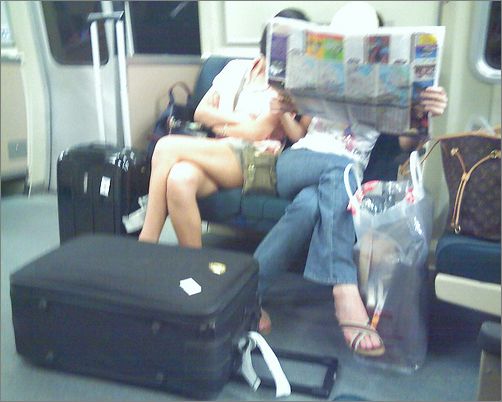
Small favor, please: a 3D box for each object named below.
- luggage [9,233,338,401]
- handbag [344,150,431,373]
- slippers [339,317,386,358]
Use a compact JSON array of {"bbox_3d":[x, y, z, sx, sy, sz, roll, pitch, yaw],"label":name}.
[{"bbox_3d":[-0.240,0.206,1.095,0.623,0.237,0.404,5,7,15],"label":"luggage"},{"bbox_3d":[0.364,0.147,1.205,0.244,0.546,0.200,8,18,28],"label":"handbag"},{"bbox_3d":[0.317,0.355,1.318,0.128,0.083,0.333,1,-2,10],"label":"slippers"}]
